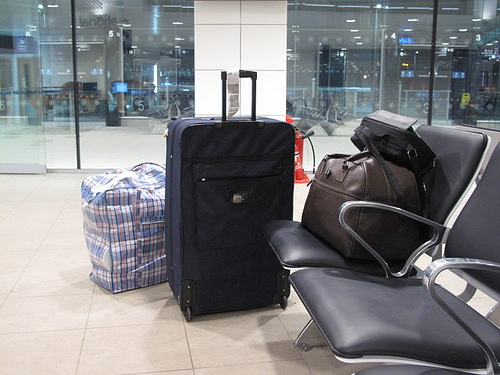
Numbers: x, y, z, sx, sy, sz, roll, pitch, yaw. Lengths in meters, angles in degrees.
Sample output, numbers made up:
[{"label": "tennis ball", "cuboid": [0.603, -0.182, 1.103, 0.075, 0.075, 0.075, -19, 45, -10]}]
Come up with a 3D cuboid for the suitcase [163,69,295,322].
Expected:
[{"label": "suitcase", "cuboid": [-0.105, 0.055, 2.151, 0.707, 1.336, 0.408, -3, 15, -12]}]

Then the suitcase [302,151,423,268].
[{"label": "suitcase", "cuboid": [0.508, 0.026, 1.921, 0.376, 0.476, 0.677, 0, 10, -14]}]

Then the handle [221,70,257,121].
[{"label": "handle", "cuboid": [-0.054, -0.497, 2.127, 0.178, 0.251, 0.258, 1, 14, 0]}]

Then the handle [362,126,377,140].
[{"label": "handle", "cuboid": [0.540, -0.244, 1.804, 0.046, 0.019, 0.058, 15, 28, -43]}]

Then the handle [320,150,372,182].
[{"label": "handle", "cuboid": [0.429, -0.121, 1.784, 0.163, 0.064, 0.152, -28, 30, -12]}]

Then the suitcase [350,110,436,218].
[{"label": "suitcase", "cuboid": [0.655, -0.167, 1.859, 0.271, 0.400, 0.340, 10, 12, -38]}]
